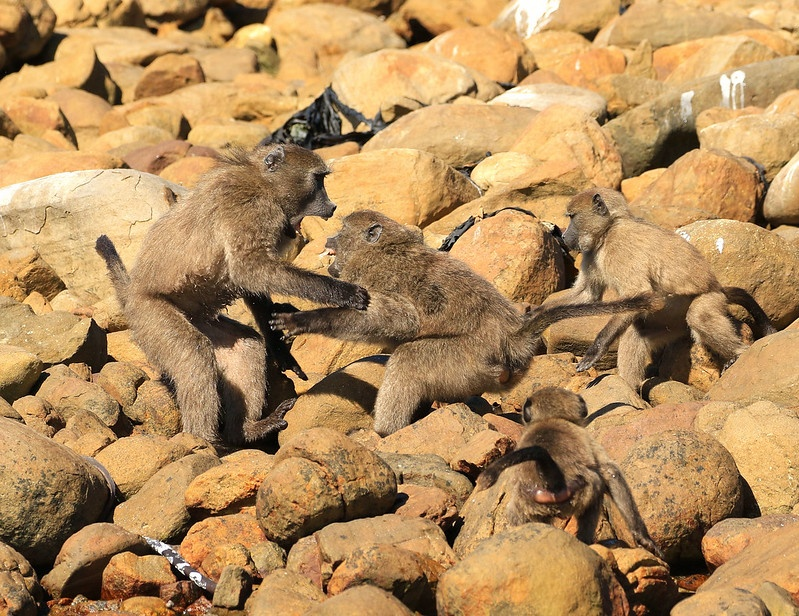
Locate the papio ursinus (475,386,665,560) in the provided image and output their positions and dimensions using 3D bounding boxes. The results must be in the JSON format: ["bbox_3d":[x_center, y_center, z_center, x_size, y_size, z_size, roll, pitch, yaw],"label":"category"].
[{"bbox_3d":[1.360,1.413,11.038,1.169,0.601,1.425,-4,38,5],"label":"papio ursinus"}]
